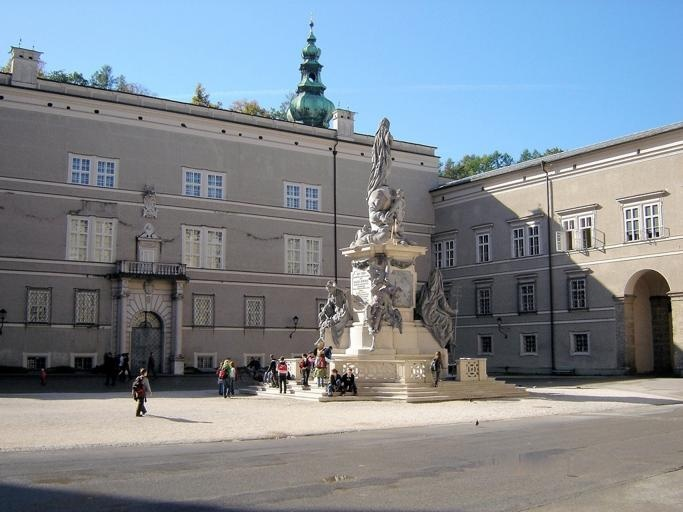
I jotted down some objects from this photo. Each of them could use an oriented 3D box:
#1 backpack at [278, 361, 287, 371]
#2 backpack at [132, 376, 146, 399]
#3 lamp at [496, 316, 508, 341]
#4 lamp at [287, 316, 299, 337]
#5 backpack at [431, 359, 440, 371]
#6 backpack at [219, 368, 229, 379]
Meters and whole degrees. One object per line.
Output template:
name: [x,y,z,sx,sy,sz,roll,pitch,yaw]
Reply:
backpack: [-2.296,4.330,30.718,0.250,0.367,0.355,3,-28,-7]
backpack: [-6.044,3.928,23.487,0.342,0.654,0.453,1,-9,-10]
lamp: [10.826,4.841,53.018,0.257,1.478,1.069,4,-10,-26]
lamp: [-3.078,4.673,51.691,0.691,1.491,0.427,4,-9,-23]
backpack: [3.466,4.029,28.959,0.236,0.497,0.360,16,-18,-34]
backpack: [-4.590,4.600,30.683,0.303,0.473,0.426,-5,-17,19]
